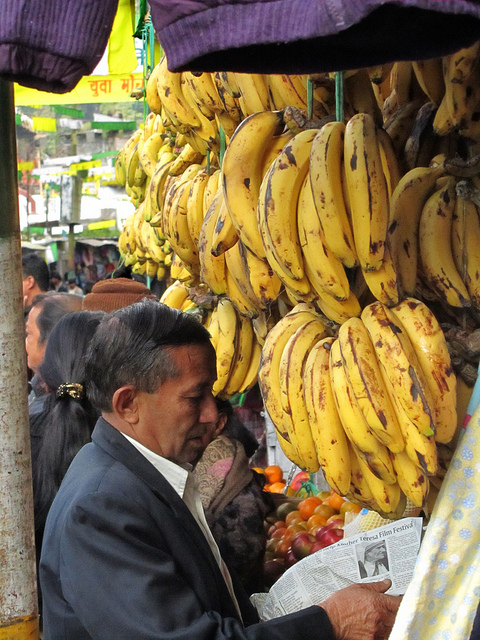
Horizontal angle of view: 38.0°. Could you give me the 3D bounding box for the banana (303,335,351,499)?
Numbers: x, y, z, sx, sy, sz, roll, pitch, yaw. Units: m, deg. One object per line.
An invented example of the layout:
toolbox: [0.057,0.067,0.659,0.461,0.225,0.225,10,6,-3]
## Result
banana: [0.165,0.194,1.374,0.101,0.335,0.070,0,-9,-34]

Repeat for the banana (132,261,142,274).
banana: [-0.558,-0.285,3.804,0.035,0.072,0.039,10,1,-37]

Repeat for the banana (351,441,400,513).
banana: [0.253,0.284,1.286,0.053,0.159,0.042,-33,9,-38]

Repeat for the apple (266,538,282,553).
apple: [0.127,0.817,2.549,0.057,0.050,0.049,8,-3,20]

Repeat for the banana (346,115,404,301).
banana: [0.235,-0.211,1.262,0.073,0.383,0.095,-7,-9,1]

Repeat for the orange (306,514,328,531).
orange: [0.280,0.719,2.483,0.049,0.051,0.050,1,-3,-2]

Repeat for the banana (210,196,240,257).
banana: [-0.036,-0.207,1.604,0.046,0.151,0.051,2,-23,4]

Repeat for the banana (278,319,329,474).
banana: [0.121,0.152,1.417,0.094,0.300,0.070,1,-3,7]

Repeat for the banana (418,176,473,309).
banana: [0.390,-0.153,1.320,0.087,0.231,0.124,2,14,-1]

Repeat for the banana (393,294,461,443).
banana: [0.319,0.064,1.294,0.083,0.297,0.097,-27,-31,21]

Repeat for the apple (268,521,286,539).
apple: [0.148,0.811,2.713,0.051,0.062,0.052,-1,-19,-7]

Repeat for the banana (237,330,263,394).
banana: [0.030,0.127,2.018,0.043,0.196,0.067,1,-2,22]

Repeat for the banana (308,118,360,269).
banana: [0.158,-0.215,1.347,0.111,0.315,0.064,4,-9,-45]

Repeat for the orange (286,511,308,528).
orange: [0.213,0.763,2.686,0.050,0.051,0.051,0,12,-5]

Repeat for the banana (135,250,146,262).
banana: [-0.519,-0.322,3.609,0.039,0.051,0.027,-24,-22,-53]

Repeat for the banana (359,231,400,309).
banana: [0.268,-0.069,1.283,0.046,0.174,0.056,-21,8,-26]

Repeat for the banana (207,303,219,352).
banana: [-0.073,0.019,2.009,0.028,0.143,0.048,7,-7,-18]

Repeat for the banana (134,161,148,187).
banana: [-0.471,-0.691,3.313,0.049,0.036,0.139,27,-16,-9]

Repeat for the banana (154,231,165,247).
banana: [-0.308,-0.300,2.686,0.045,0.089,0.032,1,1,10]

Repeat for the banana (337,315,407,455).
banana: [0.212,0.102,1.289,0.068,0.282,0.092,-21,-30,8]

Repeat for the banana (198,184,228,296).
banana: [-0.055,-0.187,1.722,0.089,0.276,0.056,5,-3,-42]

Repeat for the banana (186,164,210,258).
banana: [-0.109,-0.291,1.925,0.061,0.231,0.075,-6,-26,22]

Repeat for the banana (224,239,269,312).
banana: [-0.001,-0.108,1.664,0.071,0.226,0.061,-19,-13,-9]

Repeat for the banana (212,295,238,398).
banana: [-0.042,0.076,1.950,0.063,0.280,0.089,3,-5,-22]

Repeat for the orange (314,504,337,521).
orange: [0.312,0.697,2.538,0.044,0.054,0.047,6,25,-17]

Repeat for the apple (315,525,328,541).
apple: [0.266,0.678,2.224,0.036,0.044,0.036,-11,37,24]

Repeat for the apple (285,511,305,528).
apple: [0.218,0.763,2.696,0.051,0.051,0.050,0,22,-7]

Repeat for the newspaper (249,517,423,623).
newspaper: [0.217,0.541,1.475,0.356,0.074,0.220,-21,18,25]

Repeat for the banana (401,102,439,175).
banana: [0.377,-0.384,1.510,0.054,0.208,0.040,-16,41,-25]

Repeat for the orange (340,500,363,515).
orange: [0.383,0.633,2.387,0.069,0.052,0.090,-5,-2,0]

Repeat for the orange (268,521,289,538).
orange: [0.150,0.813,2.692,0.060,0.073,0.061,-3,-24,-2]

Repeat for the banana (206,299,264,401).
banana: [-0.013,0.086,1.974,0.084,0.261,0.193,-8,17,24]

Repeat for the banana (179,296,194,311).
banana: [-0.190,-0.056,2.444,0.035,0.023,0.102,-22,-4,-7]

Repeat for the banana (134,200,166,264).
banana: [-0.374,-0.365,2.909,0.127,0.377,0.080,-38,-48,23]

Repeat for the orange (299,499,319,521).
orange: [0.261,0.728,2.674,0.062,0.076,0.065,15,-18,5]

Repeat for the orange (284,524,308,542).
orange: [0.202,0.762,2.503,0.057,0.057,0.069,-20,-17,-28]

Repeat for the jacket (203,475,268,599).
jacket: [-0.064,0.662,2.064,0.108,0.314,0.235,-4,17,26]

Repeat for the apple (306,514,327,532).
apple: [0.275,0.715,2.471,0.047,0.051,0.051,11,1,36]

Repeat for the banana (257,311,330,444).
banana: [0.122,0.115,1.492,0.063,0.242,0.183,6,-9,-32]

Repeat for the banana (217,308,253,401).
banana: [-0.029,0.114,2.030,0.064,0.317,0.106,15,18,29]

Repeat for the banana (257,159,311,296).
banana: [0.076,-0.148,1.427,0.068,0.350,0.115,-7,6,-15]

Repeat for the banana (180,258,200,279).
banana: [-0.147,-0.154,2.097,0.087,0.033,0.019,45,-16,-31]

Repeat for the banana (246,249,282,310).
banana: [0.054,-0.090,1.584,0.046,0.158,0.050,-17,7,13]

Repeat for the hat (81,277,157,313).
hat: [-0.544,-0.078,3.153,0.213,0.185,0.243,-3,-4,-42]

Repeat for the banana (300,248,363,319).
banana: [0.183,-0.076,1.356,0.036,0.133,0.047,-35,-5,-17]

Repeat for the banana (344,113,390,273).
banana: [0.231,-0.231,1.264,0.064,0.316,0.086,-10,-19,17]

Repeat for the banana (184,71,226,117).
banana: [-0.070,-0.568,1.789,0.061,0.045,0.179,14,-11,-2]

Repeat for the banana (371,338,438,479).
banana: [0.290,0.143,1.244,0.050,0.254,0.089,-23,-17,22]
